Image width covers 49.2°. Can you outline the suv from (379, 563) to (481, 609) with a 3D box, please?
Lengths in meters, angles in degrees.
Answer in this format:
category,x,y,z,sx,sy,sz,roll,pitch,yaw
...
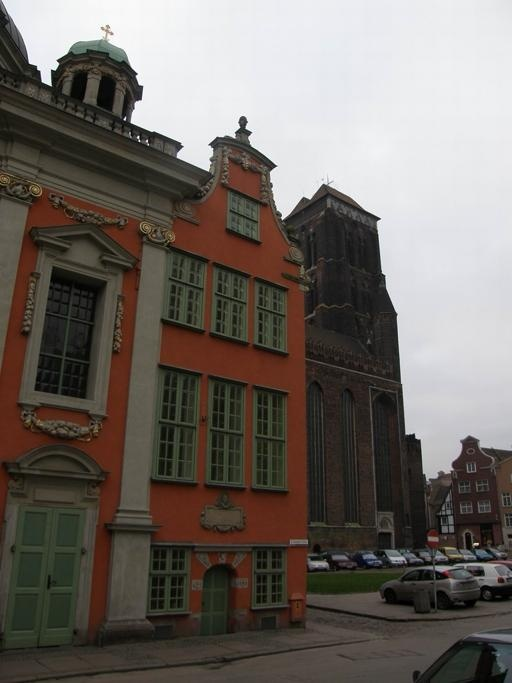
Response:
category,x,y,z,sx,sy,sz,roll,pitch,yaw
suv,6.249,9.018,21.199,3.676,1.546,1.821,-19,-38,39
